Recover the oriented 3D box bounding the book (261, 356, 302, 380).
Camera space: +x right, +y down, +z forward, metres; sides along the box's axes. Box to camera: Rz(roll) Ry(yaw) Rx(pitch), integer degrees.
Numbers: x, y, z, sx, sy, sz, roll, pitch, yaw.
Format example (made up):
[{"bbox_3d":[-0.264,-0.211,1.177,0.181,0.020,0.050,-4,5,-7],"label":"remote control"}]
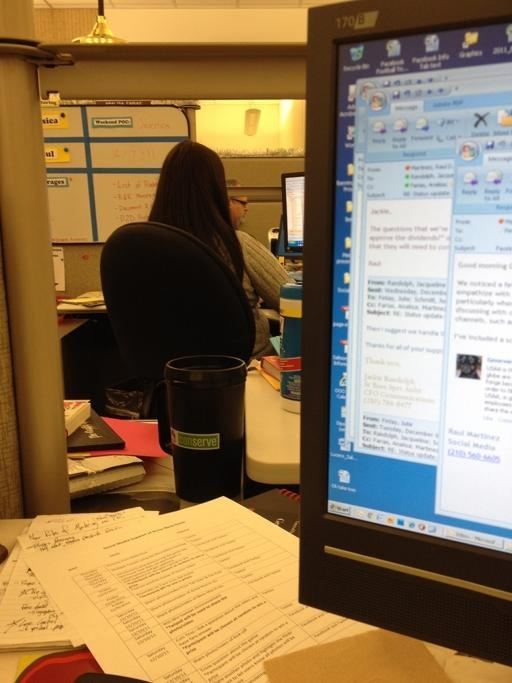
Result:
[{"bbox_3d":[0.041,0.045,0.814,0.050,0.012,0.050,-1,10,-10],"label":"book"}]
